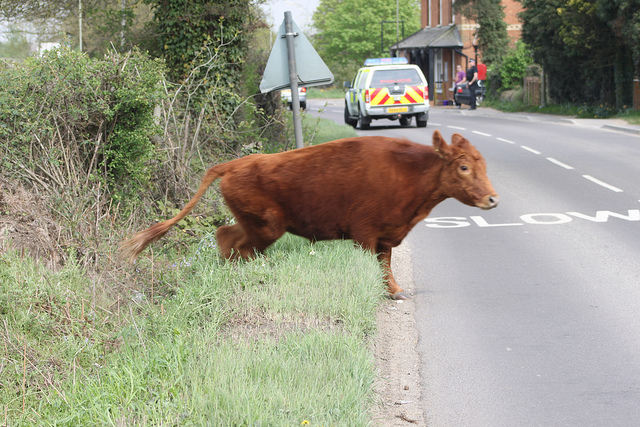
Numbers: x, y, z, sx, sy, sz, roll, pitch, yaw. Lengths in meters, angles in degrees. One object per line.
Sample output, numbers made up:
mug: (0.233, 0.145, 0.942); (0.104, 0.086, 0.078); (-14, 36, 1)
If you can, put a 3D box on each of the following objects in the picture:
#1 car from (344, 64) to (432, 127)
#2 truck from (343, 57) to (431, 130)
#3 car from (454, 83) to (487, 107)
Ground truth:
car: (2.315, -4.719, 27.010); (1.871, 1.515, 3.406); (-1, 15, -6)
truck: (2.328, -4.700, 27.233); (2.118, 1.915, 3.829); (-1, 17, -6)
car: (9.296, -7.284, 42.748); (2.102, 1.060, 1.277); (-5, 14, -12)
